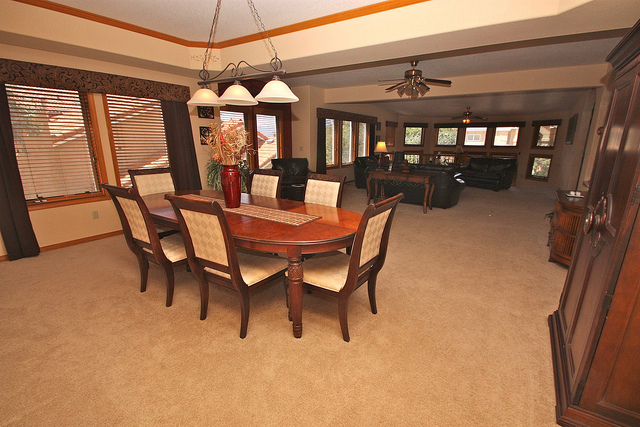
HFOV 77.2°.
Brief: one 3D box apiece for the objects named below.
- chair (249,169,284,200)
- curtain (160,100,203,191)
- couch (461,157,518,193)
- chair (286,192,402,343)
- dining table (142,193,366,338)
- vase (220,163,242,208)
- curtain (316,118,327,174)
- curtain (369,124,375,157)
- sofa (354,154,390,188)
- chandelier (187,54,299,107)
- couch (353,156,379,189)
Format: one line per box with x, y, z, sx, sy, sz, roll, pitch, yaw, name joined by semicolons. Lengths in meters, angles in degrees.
-0.828;-0.428;5.971;0.395;0.672;0.409;12;15;25;chair
-2.581;-1.243;7.481;0.303;1.658;0.622;12;21;32;curtain
4.689;-1.111;11.251;0.871;0.806;1.166;-14;21;-41;couch
0.333;0.578;4.506;1.077;1.599;0.648;-1;17;-4;chair
-1.333;0.863;5.421;1.478;0.994;3.105;11;-11;-27;dining table
-1.149;-0.355;5.120;0.228;0.544;0.231;-4;18;-13;vase
0.015;-1.706;10.171;0.163;1.369;0.336;12;21;33;curtain
1.692;-2.374;12.928;0.122;0.957;0.243;16;23;41;curtain
1.385;-1.242;11.062;0.802;0.919;1.345;7;18;23;sofa
-1.349;-2.136;6.613;1.356;0.682;4.231;-3;15;-11;chandelier
1.286;-1.134;11.383;0.737;0.778;1.201;-2;3;4;couch
